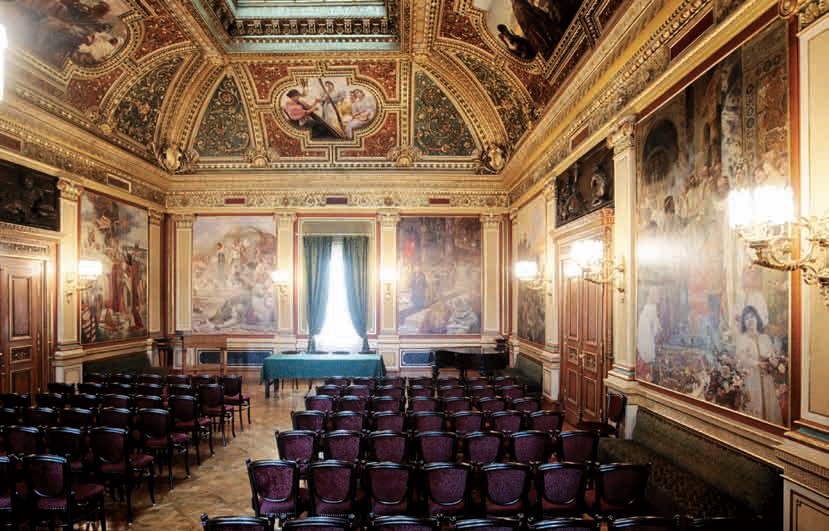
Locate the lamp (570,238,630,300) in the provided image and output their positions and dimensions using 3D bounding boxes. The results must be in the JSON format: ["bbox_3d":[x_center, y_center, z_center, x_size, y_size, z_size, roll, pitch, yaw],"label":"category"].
[{"bbox_3d":[3.219,0.017,11.272,0.971,1.455,1.102,1,-7,-21],"label":"lamp"}]

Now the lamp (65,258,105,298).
[{"bbox_3d":[-7.845,0.255,14.313,0.797,1.197,0.646,1,-1,-5],"label":"lamp"}]
